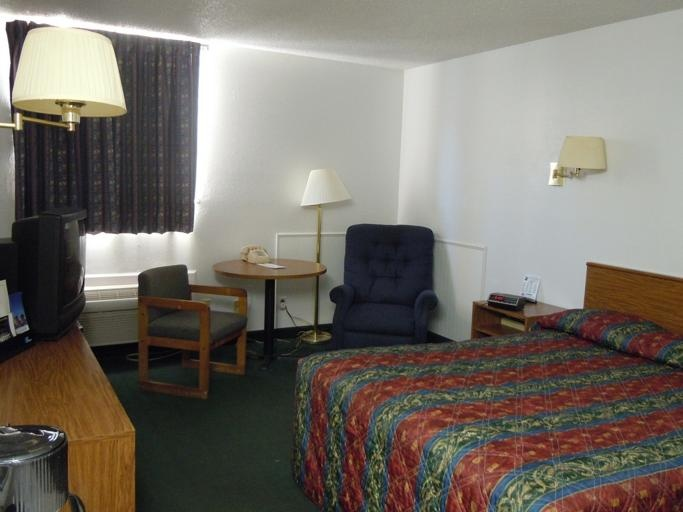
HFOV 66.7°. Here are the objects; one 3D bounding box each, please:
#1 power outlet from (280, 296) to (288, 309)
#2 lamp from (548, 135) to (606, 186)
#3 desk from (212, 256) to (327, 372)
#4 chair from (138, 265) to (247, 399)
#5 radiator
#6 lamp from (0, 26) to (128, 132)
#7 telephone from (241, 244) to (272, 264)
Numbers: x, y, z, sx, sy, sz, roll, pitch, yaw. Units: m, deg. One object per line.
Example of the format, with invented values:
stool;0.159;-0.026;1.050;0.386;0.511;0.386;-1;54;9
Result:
power outlet;-0.602;0.492;5.343;0.071;0.105;0.024;4;-1;-24
lamp;1.753;-0.740;3.847;0.331;0.338;0.257;9;5;-8
desk;-0.655;0.474;4.683;0.940;0.826;0.871;-3;9;-30
chair;-1.191;0.561;4.220;0.725;0.923;0.741;6;13;16
radiator;-2.050;0.465;4.738;0.398;0.511;0.791;11;8;44
lamp;-1.106;-0.620;2.039;0.525;0.325;0.342;2;2;36
telephone;-0.814;-0.020;4.843;0.149;0.109;0.242;-1;7;-29
